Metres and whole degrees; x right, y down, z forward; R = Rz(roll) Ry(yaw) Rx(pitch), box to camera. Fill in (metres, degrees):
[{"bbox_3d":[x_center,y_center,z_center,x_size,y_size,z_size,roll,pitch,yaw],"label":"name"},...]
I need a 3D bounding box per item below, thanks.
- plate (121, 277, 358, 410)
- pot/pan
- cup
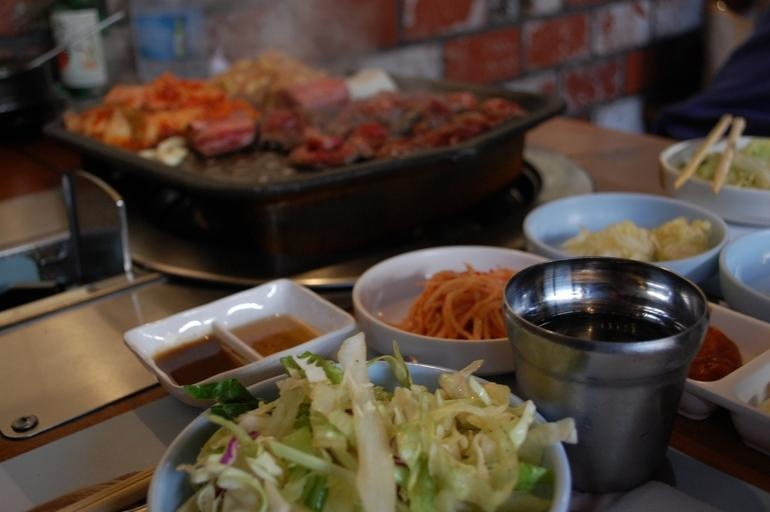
[{"bbox_3d":[-0.258,0.122,1.309,0.492,0.220,0.419,13,19,40],"label":"plate"},{"bbox_3d":[-0.147,-0.184,1.458,1.128,0.396,0.377,-12,33,-13],"label":"pot/pan"},{"bbox_3d":[0.316,0.187,1.060,0.357,0.345,0.408,4,22,-13],"label":"cup"}]
